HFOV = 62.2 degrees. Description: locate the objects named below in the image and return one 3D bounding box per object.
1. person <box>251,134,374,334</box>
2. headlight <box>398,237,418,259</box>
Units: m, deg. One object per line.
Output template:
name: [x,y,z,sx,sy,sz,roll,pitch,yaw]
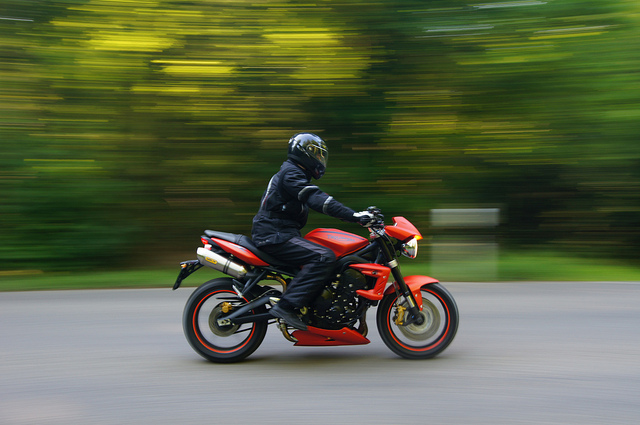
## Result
person: [-0.229,0.276,7.293,1.367,2.707,1.223,-4,16,-9]
headlight: [1.220,0.471,7.273,0.294,0.283,0.144,-4,15,-11]
